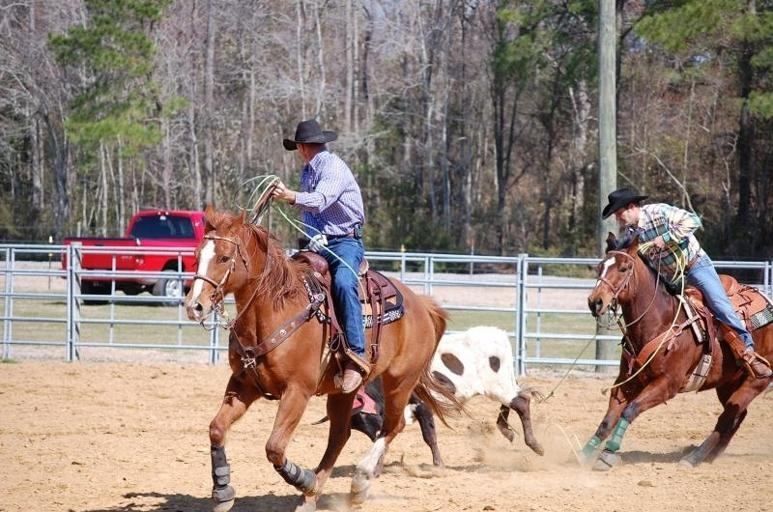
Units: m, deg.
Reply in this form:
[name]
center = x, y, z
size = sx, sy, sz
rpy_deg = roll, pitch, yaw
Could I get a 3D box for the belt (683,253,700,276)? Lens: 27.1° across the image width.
[belt]
center = 6.946, 0.144, 36.154
size = 0.339, 0.393, 0.121
rpy_deg = 4, 7, -18

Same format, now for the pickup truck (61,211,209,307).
[pickup truck]
center = -6.975, -0.141, 44.279
size = 2.461, 2.420, 4.949
rpy_deg = 0, 1, 28
